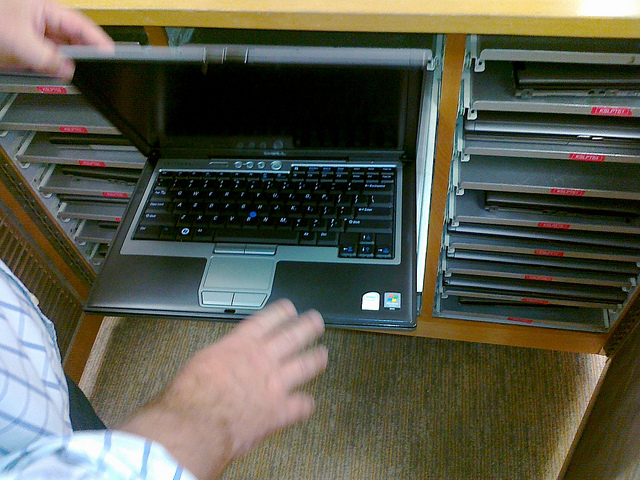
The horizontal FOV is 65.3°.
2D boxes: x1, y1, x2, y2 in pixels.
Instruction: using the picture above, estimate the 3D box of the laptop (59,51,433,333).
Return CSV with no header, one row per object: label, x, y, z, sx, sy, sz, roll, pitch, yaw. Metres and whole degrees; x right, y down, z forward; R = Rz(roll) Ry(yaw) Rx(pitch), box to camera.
laptop,-0.129,-0.119,0.793,0.572,0.380,0.364,3,60,7
